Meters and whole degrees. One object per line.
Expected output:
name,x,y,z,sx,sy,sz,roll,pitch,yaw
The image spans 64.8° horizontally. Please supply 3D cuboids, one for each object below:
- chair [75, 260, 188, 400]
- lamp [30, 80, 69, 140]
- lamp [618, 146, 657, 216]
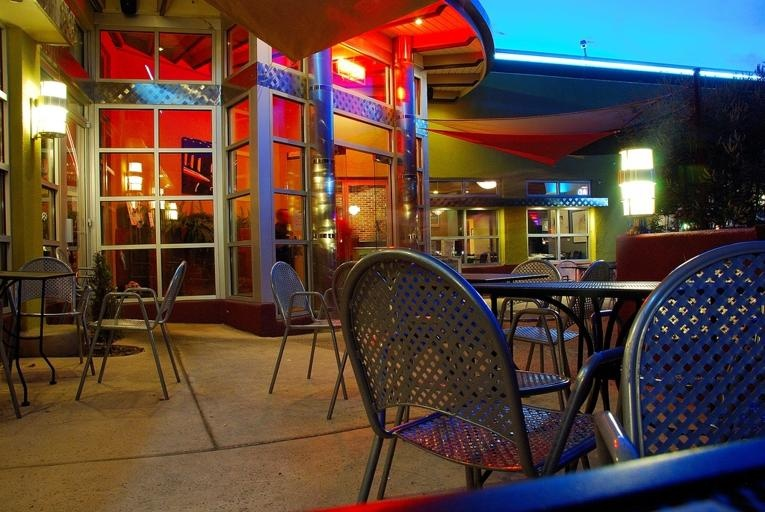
chair,-2.588,0.746,6.125,1.053,1.512,0.850,2,-7,-9
lamp,-3.604,-1.584,6.528,0.340,0.651,0.309,-2,2,-31
lamp,3.109,-0.917,7.422,0.394,0.843,0.502,0,2,22
